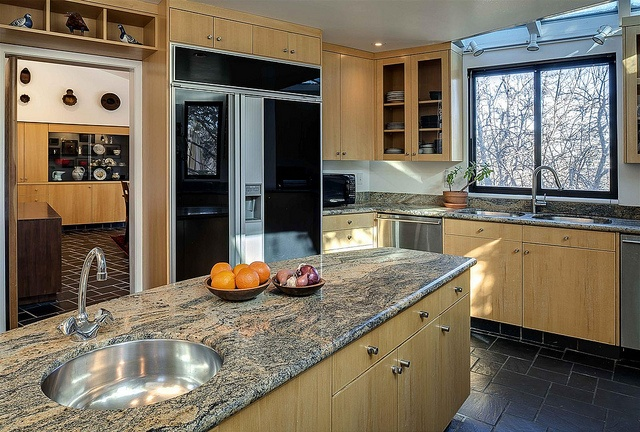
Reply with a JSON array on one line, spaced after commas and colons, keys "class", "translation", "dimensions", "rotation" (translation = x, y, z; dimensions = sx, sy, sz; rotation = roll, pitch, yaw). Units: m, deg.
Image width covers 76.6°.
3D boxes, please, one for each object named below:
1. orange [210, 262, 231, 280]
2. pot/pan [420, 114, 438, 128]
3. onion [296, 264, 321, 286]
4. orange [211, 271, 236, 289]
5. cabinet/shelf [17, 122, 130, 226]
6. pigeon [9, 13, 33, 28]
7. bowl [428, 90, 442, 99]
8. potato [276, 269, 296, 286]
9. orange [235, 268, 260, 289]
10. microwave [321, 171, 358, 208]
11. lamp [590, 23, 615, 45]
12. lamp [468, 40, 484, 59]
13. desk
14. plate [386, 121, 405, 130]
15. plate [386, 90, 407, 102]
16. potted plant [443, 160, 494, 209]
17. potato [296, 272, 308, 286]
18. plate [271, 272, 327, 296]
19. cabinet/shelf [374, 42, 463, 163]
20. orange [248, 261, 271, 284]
[{"class": "orange", "translation": [-0.534, 0.283, 2.134], "dimensions": [0.099, 0.115, 0.098], "rotation": [1, 5, 14]}, {"class": "pot/pan", "translation": [1.315, -1.130, 4.884], "dimensions": [0.167, 0.098, 0.164], "rotation": [0, 3, 19]}, {"class": "onion", "translation": [-0.070, 0.309, 2.128], "dimensions": [0.087, 0.053, 0.110], "rotation": [-4, 37, -4]}, {"class": "orange", "translation": [-0.472, 0.312, 2.018], "dimensions": [0.083, 0.076, 0.099], "rotation": [2, 6, -15]}, {"class": "cabinet/shelf", "translation": [-5.491, -0.918, 8.894], "dimensions": [2.616, 2.300, 0.821], "rotation": [-1, 0, -34]}, {"class": "pigeon", "translation": [-2.424, -1.577, 3.281], "dimensions": [0.136, 0.139, 0.151], "rotation": [-6, 14, -24]}, {"class": "bowl", "translation": [1.371, -1.432, 4.836], "dimensions": [0.109, 0.055, 0.108], "rotation": [1, 0, 0]}, {"class": "potato", "translation": [-0.189, 0.325, 2.153], "dimensions": [0.083, 0.036, 0.084], "rotation": [4, 9, 9]}, {"class": "orange", "translation": [-0.360, 0.316, 2.003], "dimensions": [0.095, 0.106, 0.094], "rotation": [0, 8, 6]}, {"class": "microwave", "translation": [0.221, -0.296, 4.940], "dimensions": [0.588, 0.414, 0.348], "rotation": [0, 0, -41]}, {"class": "lamp", "translation": [2.809, -1.806, 4.030], "dimensions": [0.155, 0.193, 0.315], "rotation": [7, 15, 32]}, {"class": "lamp", "translation": [1.816, -1.956, 4.723], "dimensions": [0.186, 0.183, 0.287], "rotation": [4, 13, 18]}, {"class": "desk", "translation": [-3.400, 0.543, 4.919], "dimensions": [0.524, 0.987, 0.341], "rotation": [-8, 15, -29]}, {"class": "plate", "translation": [0.941, -1.127, 5.113], "dimensions": [0.138, 0.051, 0.134], "rotation": [-5, 7, -36]}, {"class": "plate", "translation": [0.938, -1.489, 5.073], "dimensions": [0.164, 0.070, 0.160], "rotation": [-1, 2, -12]}, {"class": "potted plant", "translation": [1.817, -0.389, 4.973], "dimensions": [0.657, 0.610, 0.564], "rotation": [1, -6, 21]}, {"class": "potato", "translation": [-0.094, 0.337, 2.084], "dimensions": [0.065, 0.051, 0.057], "rotation": [-3, 13, -12]}, {"class": "plate", "translation": [-0.118, 0.377, 2.126], "dimensions": [0.278, 0.083, 0.136], "rotation": [-1, 12, -1]}, {"class": "cabinet/shelf", "translation": [1.209, -1.369, 5.021], "dimensions": [1.086, 1.348, 0.422], "rotation": [5, 14, 25]}, {"class": "orange", "translation": [-0.300, 0.297, 2.103], "dimensions": [0.106, 0.108, 0.113], "rotation": [-7, -6, 39]}]
